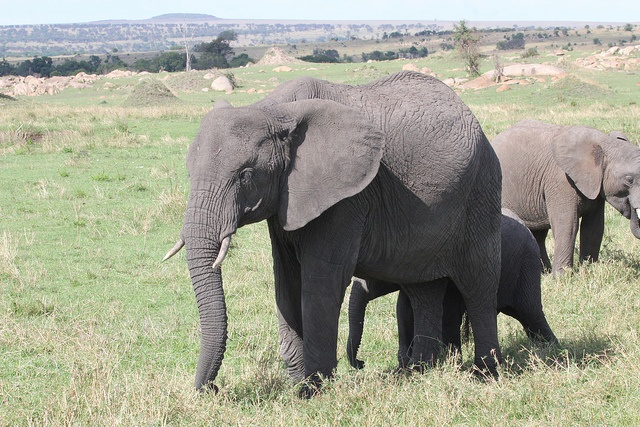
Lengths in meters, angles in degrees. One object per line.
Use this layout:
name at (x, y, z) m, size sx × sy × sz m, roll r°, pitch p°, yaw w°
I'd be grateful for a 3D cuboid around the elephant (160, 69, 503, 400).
elephant at (0.382, 0.269, 7.800) m, size 3.901 × 3.294 × 2.365 m, roll -2°, pitch 3°, yaw -25°

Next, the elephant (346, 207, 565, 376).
elephant at (1.652, 0.900, 8.486) m, size 2.782 × 1.857 × 1.296 m, roll -4°, pitch -4°, yaw -12°
